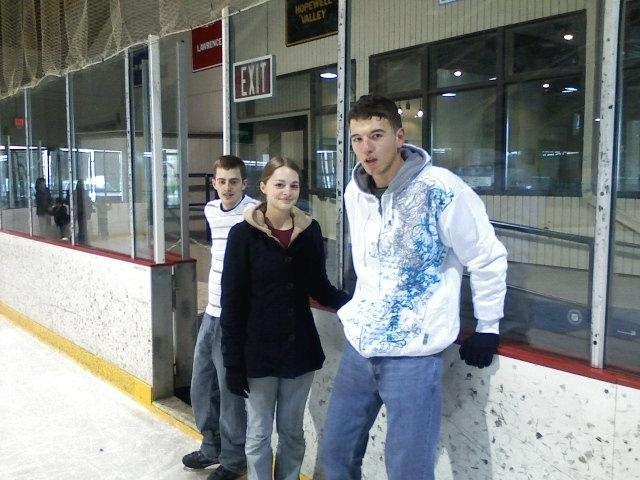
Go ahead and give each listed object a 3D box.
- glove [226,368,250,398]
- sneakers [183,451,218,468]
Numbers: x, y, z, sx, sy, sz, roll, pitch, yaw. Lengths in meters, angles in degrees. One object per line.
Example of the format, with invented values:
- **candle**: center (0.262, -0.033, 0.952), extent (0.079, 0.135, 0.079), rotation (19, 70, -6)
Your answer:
- **glove**: center (-0.408, 0.723, 2.748), extent (0.102, 0.076, 0.140), rotation (21, -17, -19)
- **sneakers**: center (-0.772, 1.403, 3.472), extent (0.257, 0.115, 0.094), rotation (8, 8, -14)
